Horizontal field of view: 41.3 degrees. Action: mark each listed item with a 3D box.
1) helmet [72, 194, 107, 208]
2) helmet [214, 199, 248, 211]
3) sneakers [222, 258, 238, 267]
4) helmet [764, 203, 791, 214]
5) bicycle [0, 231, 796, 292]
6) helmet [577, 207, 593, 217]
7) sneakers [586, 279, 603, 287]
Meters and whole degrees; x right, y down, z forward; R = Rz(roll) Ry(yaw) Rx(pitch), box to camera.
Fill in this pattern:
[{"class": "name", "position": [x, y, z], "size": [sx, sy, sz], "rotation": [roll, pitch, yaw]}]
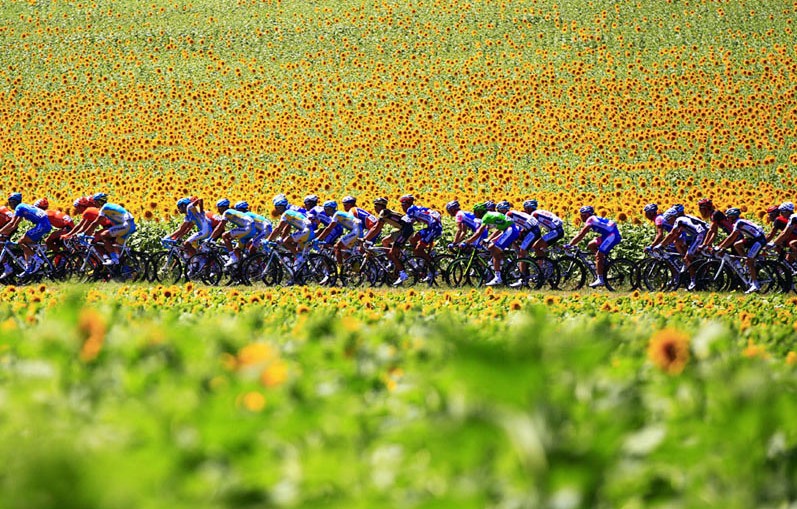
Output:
[{"class": "helmet", "position": [-6.382, -1.112, 22.057], "size": [0.469, 0.188, 0.406], "rotation": [-4, -1, 0]}, {"class": "helmet", "position": [-3.482, -1.010, 21.994], "size": [0.548, 0.178, 0.363], "rotation": [1, 1, -7]}, {"class": "sneakers", "position": [-3.430, 0.161, 21.273], "size": [0.368, 0.249, 0.122], "rotation": [4, 48, 3]}, {"class": "helmet", "position": [7.713, -0.931, 21.440], "size": [0.477, 0.148, 0.308], "rotation": [1, 3, 18]}, {"class": "bicycle", "position": [0.103, 0.163, 20.931], "size": [8.485, 0.919, 1.052], "rotation": [0, 12, 1]}, {"class": "helmet", "position": [3.787, -0.871, 21.379], "size": [0.225, 0.180, 0.192], "rotation": [-19, 5, 35]}, {"class": "sneakers", "position": [3.876, 0.571, 20.981], "size": [0.361, 0.237, 0.126], "rotation": [2, 1, 17]}]
